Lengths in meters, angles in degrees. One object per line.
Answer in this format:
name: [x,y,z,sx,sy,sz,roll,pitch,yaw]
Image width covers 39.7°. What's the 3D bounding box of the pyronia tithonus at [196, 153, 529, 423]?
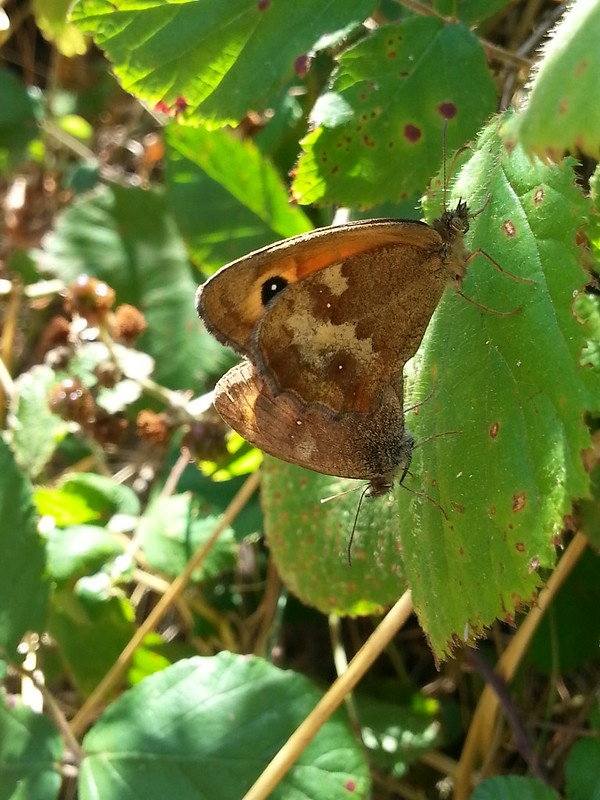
pyronia tithonus: [0.079,-0.187,1.602,0.448,0.438,0.187,-36,70,22]
